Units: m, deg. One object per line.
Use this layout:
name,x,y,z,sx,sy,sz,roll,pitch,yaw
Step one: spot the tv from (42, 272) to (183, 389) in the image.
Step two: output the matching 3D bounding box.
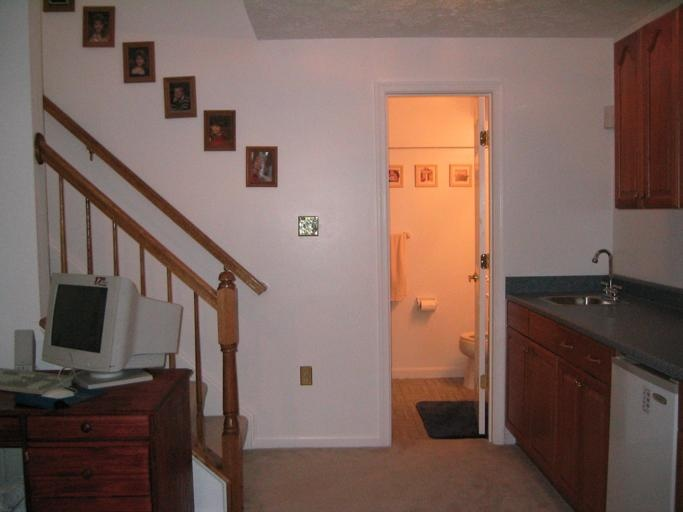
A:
tv,-1.175,0.328,3.149,0.537,0.601,0.599,1,0,16

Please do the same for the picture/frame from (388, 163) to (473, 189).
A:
picture/frame,0.825,-0.730,5.476,0.760,0.211,0.079,-1,12,-3

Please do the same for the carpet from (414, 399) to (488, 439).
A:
carpet,0.819,1.165,4.566,0.467,0.228,0.728,0,12,3

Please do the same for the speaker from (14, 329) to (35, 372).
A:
speaker,-1.759,0.515,3.299,0.109,0.221,0.219,-8,14,-30

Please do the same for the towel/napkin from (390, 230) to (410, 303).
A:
towel/napkin,0.535,0.098,5.444,0.158,0.589,0.111,-2,12,-5

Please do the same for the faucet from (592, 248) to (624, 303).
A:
faucet,1.782,0.103,3.996,0.201,0.347,0.446,5,13,24
